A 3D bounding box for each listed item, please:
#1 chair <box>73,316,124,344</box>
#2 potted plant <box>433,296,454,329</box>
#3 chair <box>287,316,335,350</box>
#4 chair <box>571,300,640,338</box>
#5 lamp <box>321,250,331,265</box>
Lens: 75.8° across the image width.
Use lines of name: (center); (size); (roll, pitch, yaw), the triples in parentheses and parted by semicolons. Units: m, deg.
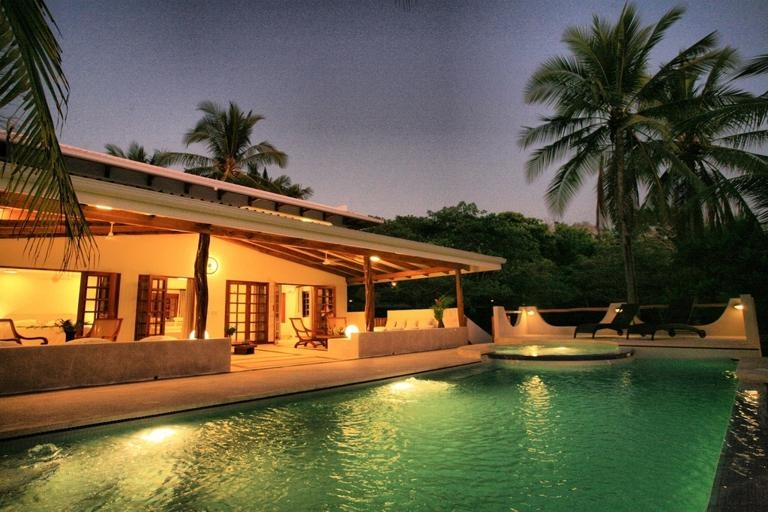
chair: (-7.656, 1.938, 13.132); (0.812, 1.053, 0.855); (-1, -11, 4)
potted plant: (2.065, 2.070, 17.775); (0.681, 1.103, 2.100); (0, 6, 6)
chair: (-2.869, 2.804, 18.207); (1.857, 1.157, 1.096); (-1, -5, 18)
chair: (6.979, 2.017, 15.737); (2.346, 1.217, 1.202); (3, -10, -15)
lamp: (-2.123, 0.051, 17.930); (0.527, 0.482, 0.496); (-1, -7, -2)
